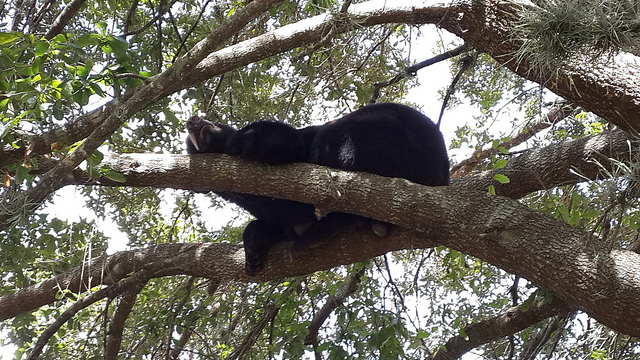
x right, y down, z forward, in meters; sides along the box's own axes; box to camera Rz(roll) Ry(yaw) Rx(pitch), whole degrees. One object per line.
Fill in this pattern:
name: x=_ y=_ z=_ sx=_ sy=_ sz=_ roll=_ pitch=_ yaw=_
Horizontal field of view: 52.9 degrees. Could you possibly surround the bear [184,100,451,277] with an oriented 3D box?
bear: x=0.011 y=-0.176 z=6.822 sx=2.782 sy=1.356 sz=1.450 roll=-5 pitch=-24 yaw=-8
